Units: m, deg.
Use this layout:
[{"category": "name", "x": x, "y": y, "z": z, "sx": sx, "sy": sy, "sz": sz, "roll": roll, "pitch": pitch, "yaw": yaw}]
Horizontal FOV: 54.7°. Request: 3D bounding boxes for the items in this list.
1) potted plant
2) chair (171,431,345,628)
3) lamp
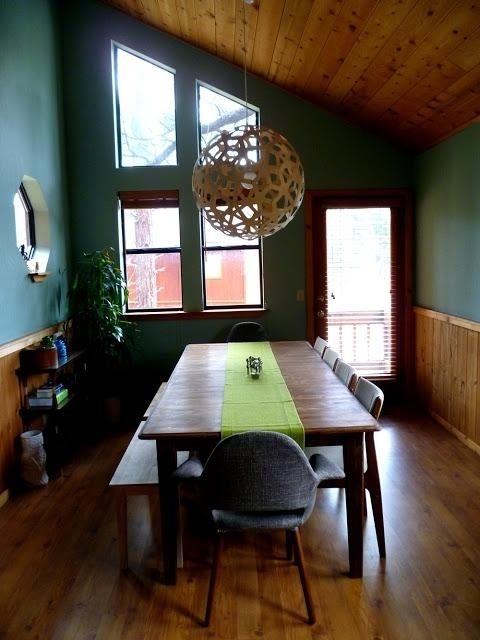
[{"category": "potted plant", "x": -1.117, "y": 0.136, "z": 3.869, "sx": 0.536, "sy": 1.461, "sz": 0.637, "roll": -2, "pitch": 4, "yaw": -19}, {"category": "chair", "x": 0.052, "y": 0.499, "z": 1.683, "sx": 0.552, "sy": 0.962, "sz": 0.558, "roll": 0, "pitch": 1, "yaw": 1}, {"category": "lamp", "x": 0.049, "y": -0.715, "z": 2.350, "sx": 0.582, "sy": 0.562, "sz": 0.477, "roll": -2, "pitch": 4, "yaw": -8}]
